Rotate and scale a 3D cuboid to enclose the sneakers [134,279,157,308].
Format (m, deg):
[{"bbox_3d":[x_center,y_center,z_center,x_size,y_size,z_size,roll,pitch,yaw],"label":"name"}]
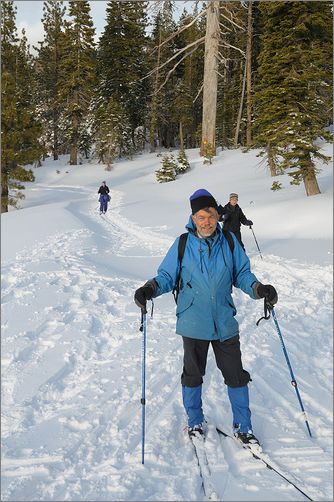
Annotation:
[{"bbox_3d":[-0.185,0.367,4.596,0.182,0.101,0.233,-6,12,38],"label":"sneakers"}]

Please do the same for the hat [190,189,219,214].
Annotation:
[{"bbox_3d":[0.324,-0.444,4.741,0.187,0.204,0.257,-18,-18,-7],"label":"hat"}]

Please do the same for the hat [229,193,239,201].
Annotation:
[{"bbox_3d":[1.332,-1.093,10.282,0.202,0.157,0.211,1,0,-1],"label":"hat"}]

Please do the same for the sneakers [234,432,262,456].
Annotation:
[{"bbox_3d":[0.750,1.752,4.778,0.102,0.115,0.266,25,-11,-21],"label":"sneakers"}]

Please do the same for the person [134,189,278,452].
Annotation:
[{"bbox_3d":[0.379,0.611,4.736,1.125,2.305,0.441,0,13,4],"label":"person"}]
